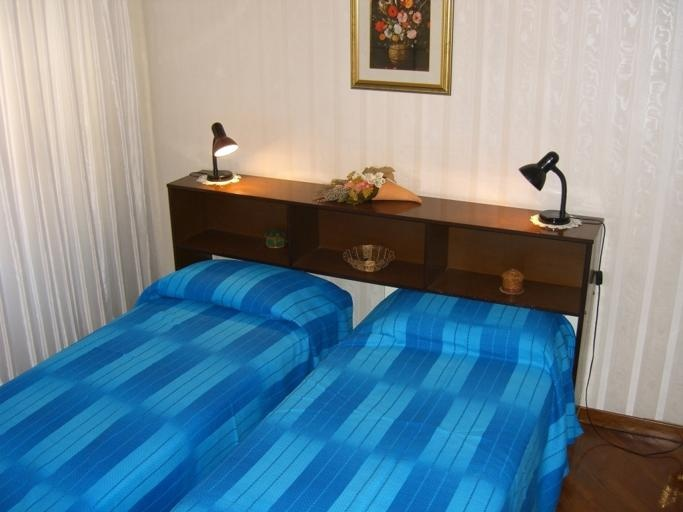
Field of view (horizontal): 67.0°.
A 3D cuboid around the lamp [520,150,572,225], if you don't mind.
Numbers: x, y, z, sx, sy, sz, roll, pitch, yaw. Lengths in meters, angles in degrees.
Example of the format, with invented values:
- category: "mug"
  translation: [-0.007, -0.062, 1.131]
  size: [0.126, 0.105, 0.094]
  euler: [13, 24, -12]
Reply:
- category: "lamp"
  translation: [1.050, -0.341, 2.620]
  size: [0.293, 0.364, 0.143]
  euler: [-7, 23, -16]

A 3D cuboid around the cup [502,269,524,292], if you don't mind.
- category: "cup"
  translation: [0.928, 0.132, 2.821]
  size: [0.117, 0.111, 0.115]
  euler: [0, 10, 0]
